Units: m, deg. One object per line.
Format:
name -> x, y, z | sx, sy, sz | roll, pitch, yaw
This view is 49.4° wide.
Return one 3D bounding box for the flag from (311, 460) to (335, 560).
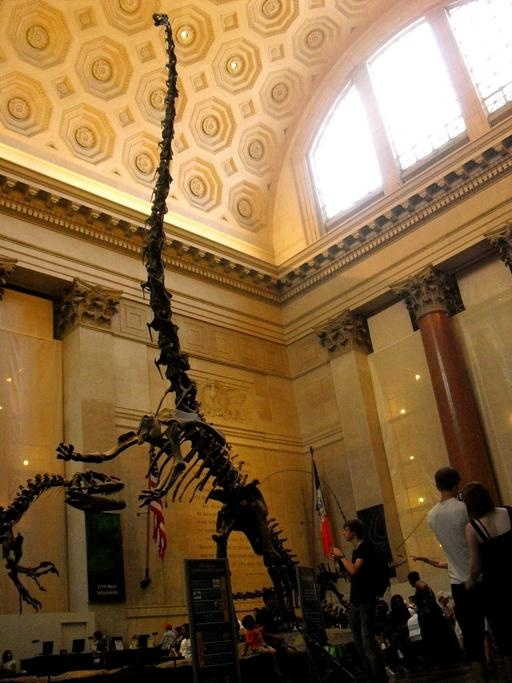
flag -> 1.183, 3.076, 10.573 | 0.306, 1.905, 1.092 | -14, -24, 2
